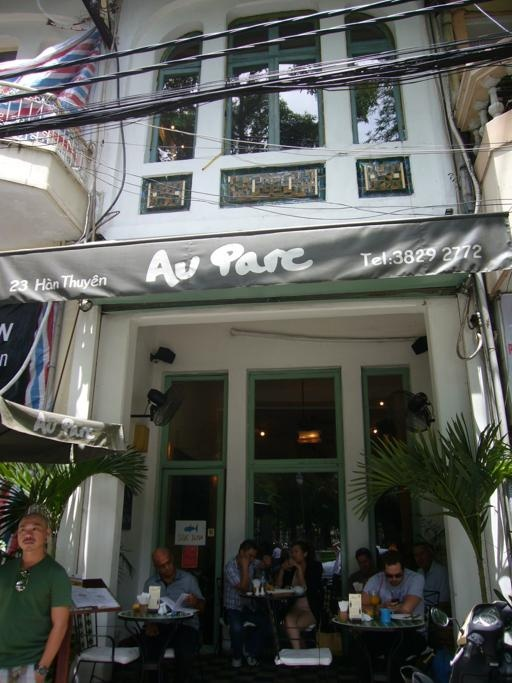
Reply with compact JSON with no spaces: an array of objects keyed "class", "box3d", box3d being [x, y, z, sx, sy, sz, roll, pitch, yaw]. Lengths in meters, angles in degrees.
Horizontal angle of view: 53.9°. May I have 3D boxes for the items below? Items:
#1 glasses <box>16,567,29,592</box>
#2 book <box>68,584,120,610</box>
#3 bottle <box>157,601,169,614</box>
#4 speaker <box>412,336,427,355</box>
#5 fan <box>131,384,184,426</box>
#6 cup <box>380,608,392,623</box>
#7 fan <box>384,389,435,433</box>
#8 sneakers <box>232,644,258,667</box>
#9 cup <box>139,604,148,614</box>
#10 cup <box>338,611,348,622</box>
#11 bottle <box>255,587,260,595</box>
[{"class":"glasses","box3d":[-1.193,1.228,2.578,0.046,0.080,0.020,9,-49,-4]},{"class":"book","box3d":[-1.238,1.997,3.917,0.361,0.137,0.582,8,-22,-17]},{"class":"bottle","box3d":[-0.776,2.232,4.217,0.091,0.100,0.062,-18,-20,42]},{"class":"speaker","box3d":[2.234,0.074,6.863,0.206,0.182,0.231,-10,12,40]},{"class":"fan","box3d":[-1.248,0.880,6.519,0.632,0.498,0.545,-2,-26,8]},{"class":"cup","box3d":[0.974,2.096,3.864,0.108,0.106,0.092,-13,-28,40]},{"class":"fan","box3d":[1.983,0.801,6.216,0.221,0.485,0.616,-7,-30,-5]},{"class":"sneakers","box3d":[-0.054,3.550,5.645,0.393,0.137,0.171,-6,-58,12]},{"class":"cup","box3d":[-0.935,2.265,4.269,0.077,0.085,0.078,0,-16,0]},{"class":"cup","box3d":[0.689,2.164,3.960,0.066,0.076,0.065,-2,-30,-1]},{"class":"bottle","box3d":[0.023,2.579,5.212,0.053,0.093,0.053,1,-9,0]}]
